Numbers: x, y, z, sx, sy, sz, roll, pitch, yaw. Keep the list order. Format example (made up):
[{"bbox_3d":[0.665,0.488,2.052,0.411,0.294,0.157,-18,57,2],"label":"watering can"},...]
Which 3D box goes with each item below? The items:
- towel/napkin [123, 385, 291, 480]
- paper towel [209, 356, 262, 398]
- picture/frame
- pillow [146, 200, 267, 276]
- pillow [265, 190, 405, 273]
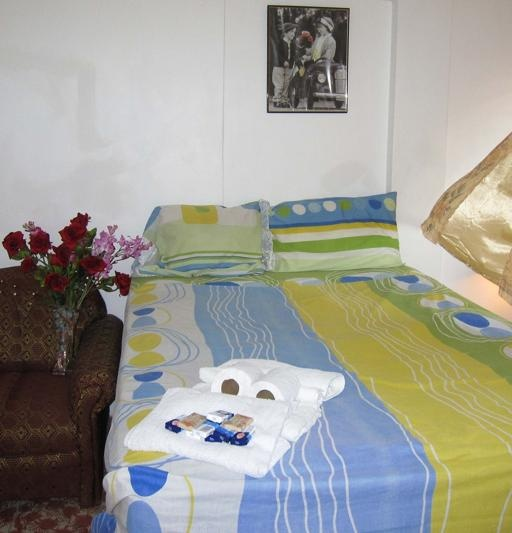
[{"bbox_3d":[-0.097,0.367,1.060,0.231,0.042,0.183,5,14,18],"label":"towel/napkin"},{"bbox_3d":[-0.033,0.288,1.297,0.143,0.111,0.108,-5,50,11],"label":"paper towel"},{"bbox_3d":[0.300,-1.324,2.943,0.768,0.779,0.031,-2,12,-9],"label":"picture/frame"},{"bbox_3d":[-0.264,-0.159,2.575,0.570,0.155,0.406,1,48,-2],"label":"pillow"},{"bbox_3d":[0.437,-0.185,2.764,0.689,0.188,0.415,-2,61,-4],"label":"pillow"}]
